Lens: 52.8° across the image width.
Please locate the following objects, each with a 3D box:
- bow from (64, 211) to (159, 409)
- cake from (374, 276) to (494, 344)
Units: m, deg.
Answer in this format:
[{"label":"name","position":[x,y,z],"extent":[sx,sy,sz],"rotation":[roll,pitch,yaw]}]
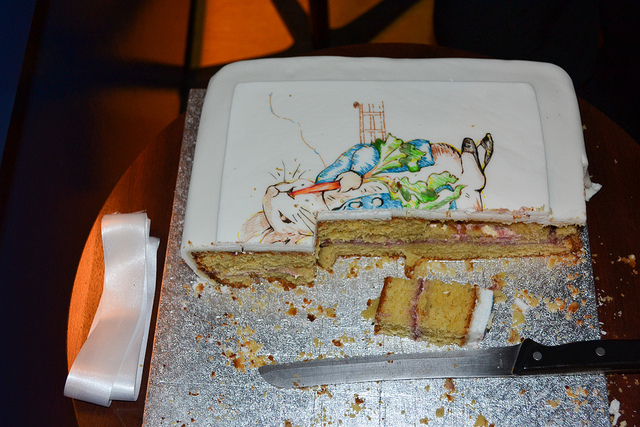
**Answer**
[{"label":"bow","position":[-0.906,0.420,2.902],"extent":[0.301,0.143,0.863],"rotation":[7,72,3]},{"label":"cake","position":[0.512,0.441,2.921],"extent":[0.519,0.075,0.273],"rotation":[7,72,3]}]
